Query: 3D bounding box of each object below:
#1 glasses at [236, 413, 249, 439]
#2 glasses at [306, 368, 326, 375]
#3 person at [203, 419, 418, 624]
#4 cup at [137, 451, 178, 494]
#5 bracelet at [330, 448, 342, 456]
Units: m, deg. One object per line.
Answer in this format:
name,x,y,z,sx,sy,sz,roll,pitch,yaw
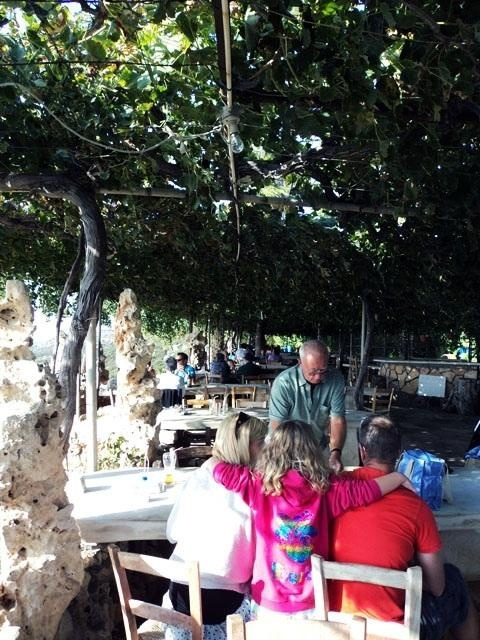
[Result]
glasses,0.002,0.446,2.175,0.069,0.090,0.045,15,-20,-18
glasses,0.518,0.353,3.459,0.108,0.047,0.066,2,3,-2
person,0.252,0.795,1.968,0.834,0.913,0.337,1,15,11
cup,-0.532,0.998,3.353,0.240,0.144,0.234,1,-18,0
bracelet,0.619,0.854,3.286,0.073,0.026,0.053,6,-4,-32
